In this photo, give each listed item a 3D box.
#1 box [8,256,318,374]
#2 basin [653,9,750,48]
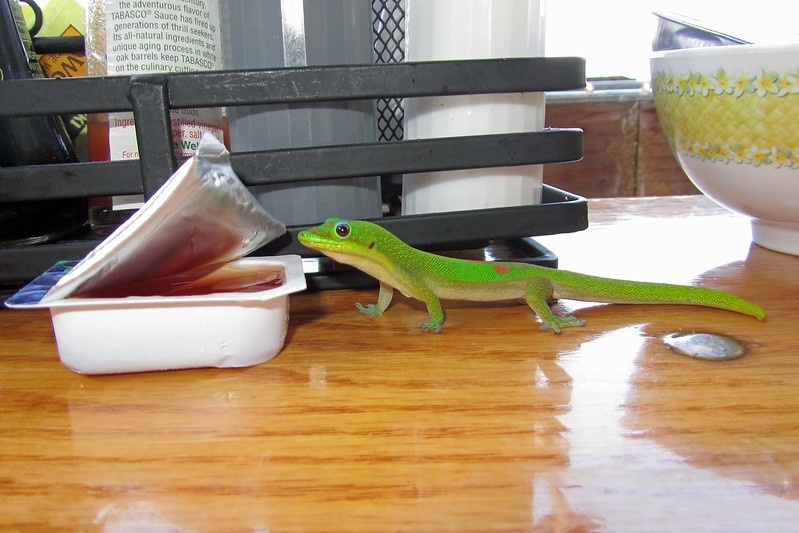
[{"bbox_3d":[-0.205,0.043,0.628,0.241,0.080,0.106,-3,21,-5],"label":"box"},{"bbox_3d":[0.352,-0.286,0.855,0.128,0.036,0.092,11,27,29],"label":"basin"}]
